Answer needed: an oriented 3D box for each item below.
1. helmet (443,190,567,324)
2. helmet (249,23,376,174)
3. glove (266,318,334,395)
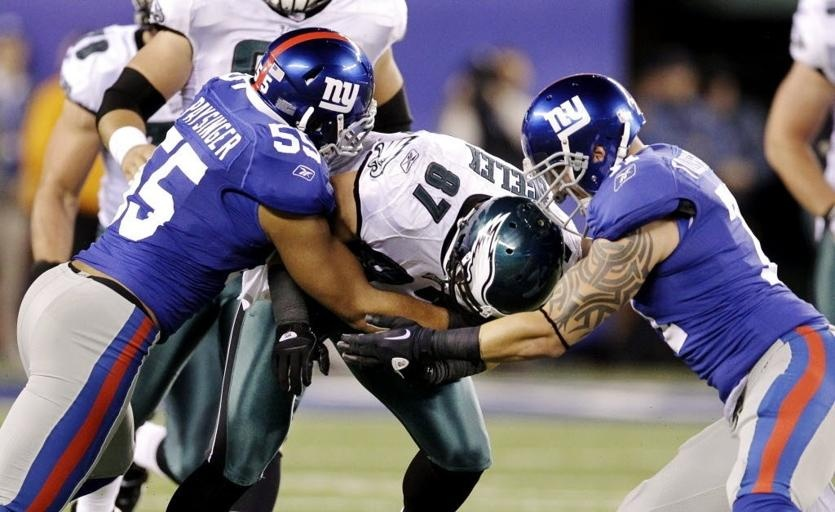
[{"bbox_3d":[0.336,-0.001,4.266,0.420,0.518,0.424,38,14,-29],"label":"helmet"},{"bbox_3d":[-0.447,-0.691,4.394,0.582,0.541,0.471,-1,35,-21],"label":"helmet"},{"bbox_3d":[-0.520,0.441,4.287,0.087,0.313,0.233,-14,-4,43],"label":"glove"}]
